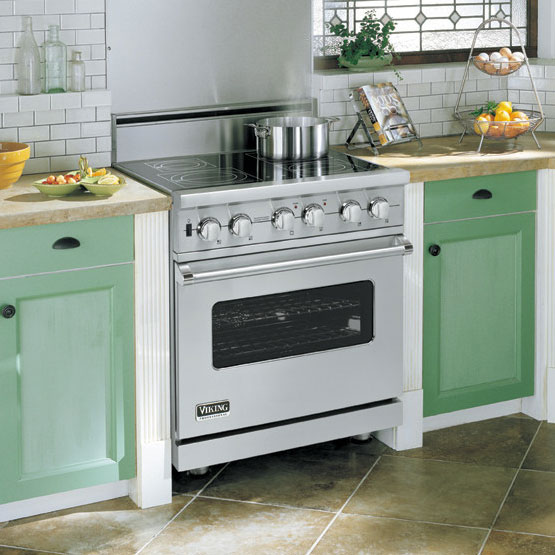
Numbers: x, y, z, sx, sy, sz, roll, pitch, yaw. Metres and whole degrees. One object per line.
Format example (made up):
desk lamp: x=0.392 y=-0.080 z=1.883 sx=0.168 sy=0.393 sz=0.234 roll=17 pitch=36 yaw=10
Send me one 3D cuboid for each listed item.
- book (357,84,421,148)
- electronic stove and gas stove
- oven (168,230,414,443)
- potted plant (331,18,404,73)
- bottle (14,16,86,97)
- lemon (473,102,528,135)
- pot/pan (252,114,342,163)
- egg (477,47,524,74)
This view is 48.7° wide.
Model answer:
book: x=0.457 y=-0.695 z=2.598 sx=0.274 sy=0.291 sz=0.382 roll=0 pitch=11 yaw=0
electronic stove and gas stove: x=-0.037 y=-0.265 z=2.107 sx=0.825 sy=0.316 sz=0.625 roll=-5 pitch=12 yaw=-25
oven: x=-0.130 y=0.195 z=2.139 sx=0.725 sy=0.579 sz=1.000 roll=1 pitch=4 yaw=45
potted plant: x=0.406 y=-1.039 z=2.770 sx=0.262 sy=0.211 sz=0.320 roll=-2 pitch=36 yaw=2
bottle: x=-0.779 y=-0.748 z=2.094 sx=0.227 sy=0.258 sz=0.131 roll=-3 pitch=12 yaw=-15
lemon: x=0.926 y=-0.641 z=2.568 sx=0.225 sy=0.098 sz=0.208 roll=0 pitch=9 yaw=6
pot/pan: x=0.027 y=-0.510 z=2.337 sx=0.359 sy=0.102 sz=0.230 roll=-6 pitch=13 yaw=-23
egg: x=1.003 y=-0.981 z=2.780 sx=0.204 sy=0.136 sz=0.201 roll=5 pitch=12 yaw=23
